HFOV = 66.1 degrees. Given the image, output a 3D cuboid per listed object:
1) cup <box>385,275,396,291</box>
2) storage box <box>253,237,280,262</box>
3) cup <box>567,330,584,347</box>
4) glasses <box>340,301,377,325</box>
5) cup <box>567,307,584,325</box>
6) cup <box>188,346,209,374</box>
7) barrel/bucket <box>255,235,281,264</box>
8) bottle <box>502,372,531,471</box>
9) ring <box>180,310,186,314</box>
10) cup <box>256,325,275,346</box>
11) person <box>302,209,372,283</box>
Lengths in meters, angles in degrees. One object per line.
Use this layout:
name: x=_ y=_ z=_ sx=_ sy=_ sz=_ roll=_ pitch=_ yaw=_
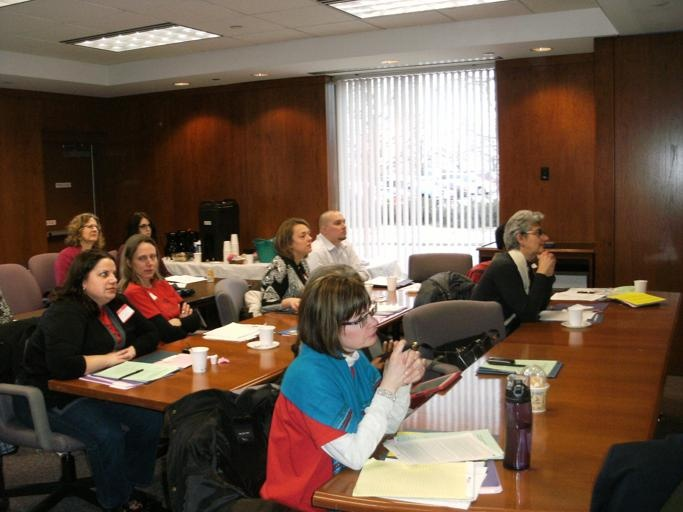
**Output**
cup: x=0.450 y=0.263 z=4.806 sx=0.106 sy=0.116 sz=0.107 roll=0 pitch=1 yaw=0
storage box: x=-0.901 y=-0.060 z=6.203 sx=0.288 sy=0.244 sz=0.214 roll=7 pitch=12 yaw=38
cup: x=1.345 y=0.477 z=3.029 sx=0.078 sy=0.084 sz=0.078 roll=-1 pitch=7 yaw=0
glasses: x=0.070 y=0.205 z=1.869 sx=0.079 sy=0.022 sz=0.081 roll=-8 pitch=13 yaw=29
cup: x=1.433 y=0.376 z=3.290 sx=0.089 sy=0.110 sz=0.110 roll=-3 pitch=2 yaw=7
cup: x=-0.761 y=0.554 z=2.797 sx=0.114 sy=0.118 sz=0.118 roll=0 pitch=-3 yaw=0
barrel/bucket: x=-0.868 y=-0.056 z=6.065 sx=0.323 sy=0.350 sz=0.255 roll=6 pitch=12 yaw=28
bottle: x=0.571 y=0.539 z=1.714 sx=0.083 sy=0.273 sz=0.153 roll=-1 pitch=7 yaw=26
ring: x=-1.213 y=0.430 z=4.020 sx=0.025 sy=0.033 sz=0.012 roll=0 pitch=-3 yaw=-8
cup: x=-0.459 y=0.492 z=3.266 sx=0.091 sy=0.112 sz=0.113 roll=10 pitch=10 yaw=40
person: x=-0.054 y=-0.014 z=5.295 sx=0.693 sy=0.851 sz=0.545 roll=-9 pitch=12 yaw=-41
